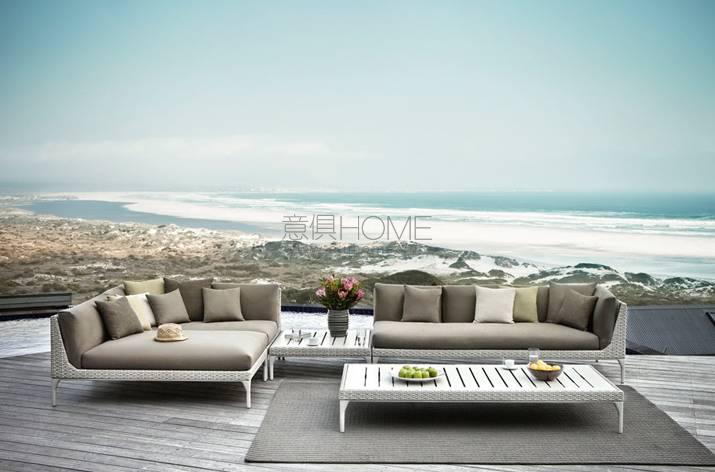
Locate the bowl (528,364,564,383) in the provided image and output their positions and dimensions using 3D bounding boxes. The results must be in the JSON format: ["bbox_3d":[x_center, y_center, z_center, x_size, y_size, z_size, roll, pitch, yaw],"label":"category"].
[{"bbox_3d":[1.810,1.303,4.087,0.228,0.069,0.202,-2,-3,22],"label":"bowl"}]

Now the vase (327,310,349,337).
[{"bbox_3d":[-0.262,1.159,5.647,0.425,0.393,0.346,0,-8,0],"label":"vase"}]

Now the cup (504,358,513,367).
[{"bbox_3d":[1.584,1.322,4.456,0.092,0.039,0.078,1,-1,-8],"label":"cup"}]

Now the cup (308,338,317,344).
[{"bbox_3d":[-0.562,1.308,5.300,0.112,0.053,0.099,-2,5,-13],"label":"cup"}]

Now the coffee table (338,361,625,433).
[{"bbox_3d":[1.573,1.502,4.314,2.043,0.265,0.924,-11,0,28],"label":"coffee table"}]

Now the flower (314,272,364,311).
[{"bbox_3d":[-0.235,0.826,5.921,0.827,0.404,0.671,1,6,1],"label":"flower"}]

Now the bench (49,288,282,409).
[{"bbox_3d":[-2.217,1.250,5.756,2.468,0.789,2.789,2,0,6],"label":"bench"}]

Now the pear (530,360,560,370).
[{"bbox_3d":[1.805,1.263,4.160,0.170,0.048,0.147,2,-6,-6],"label":"pear"}]

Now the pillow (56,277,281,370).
[{"bbox_3d":[-2.178,1.064,5.101,1.625,0.495,1.323,0,0,-2],"label":"pillow"}]
